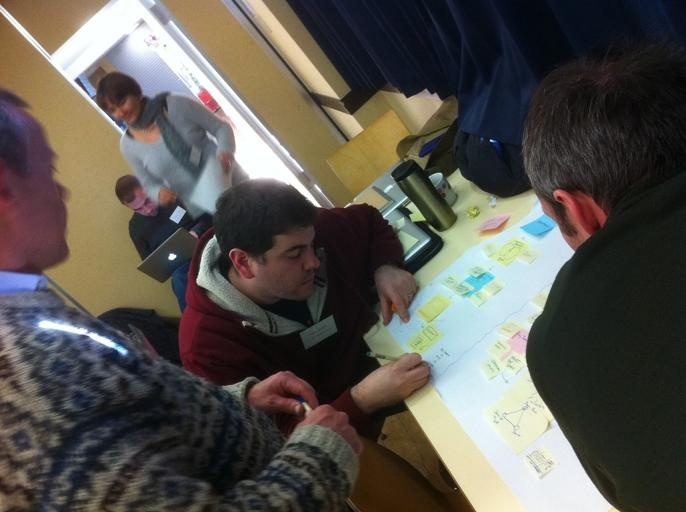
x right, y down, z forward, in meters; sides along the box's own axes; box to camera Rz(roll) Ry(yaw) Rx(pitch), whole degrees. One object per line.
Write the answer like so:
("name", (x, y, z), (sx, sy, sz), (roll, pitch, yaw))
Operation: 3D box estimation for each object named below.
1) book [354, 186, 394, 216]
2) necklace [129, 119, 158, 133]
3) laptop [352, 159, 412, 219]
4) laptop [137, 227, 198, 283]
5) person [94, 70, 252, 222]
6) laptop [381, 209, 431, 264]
("book", (0.161, -0.287, 2.351), (0.044, 0.178, 0.190), (41, 11, -28))
("necklace", (-1.108, -0.694, 2.573), (0.075, 0.097, 0.099), (61, 34, -17))
("laptop", (0.171, -0.327, 2.279), (0.068, 0.289, 0.283), (48, 12, -7))
("laptop", (-0.952, -0.013, 2.503), (0.147, 0.233, 0.169), (32, 30, -20))
("person", (-0.992, -0.594, 2.578), (0.972, 0.444, 0.350), (33, 0, -42))
("laptop", (0.258, -0.068, 1.829), (0.196, 0.197, 0.047), (44, -11, 35))
